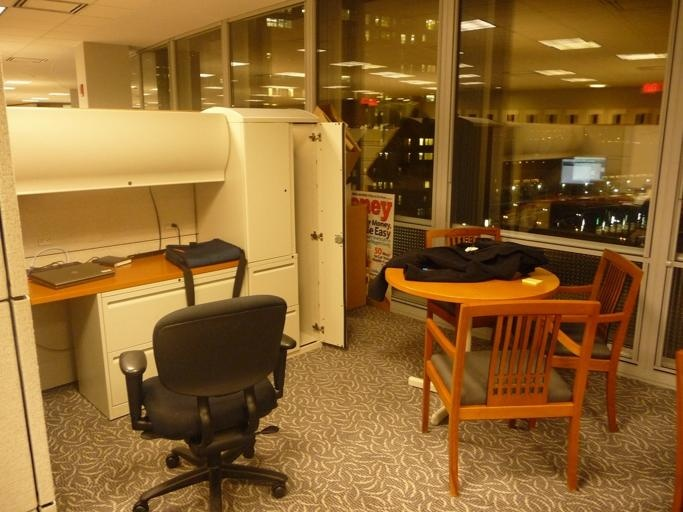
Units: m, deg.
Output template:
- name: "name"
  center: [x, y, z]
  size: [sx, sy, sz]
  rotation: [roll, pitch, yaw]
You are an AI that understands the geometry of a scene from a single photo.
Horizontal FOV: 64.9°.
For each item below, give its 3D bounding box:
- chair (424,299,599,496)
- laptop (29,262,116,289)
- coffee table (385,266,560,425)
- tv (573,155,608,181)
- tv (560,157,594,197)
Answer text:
- name: "chair"
  center: [1.041, 0.906, 3.269]
  size: [0.999, 1.310, 0.983]
  rotation: [-1, 21, 0]
- name: "laptop"
  center: [-1.914, 0.114, 3.853]
  size: [0.507, 0.064, 0.479]
  rotation: [-13, 20, -43]
- name: "coffee table"
  center: [0.910, 0.660, 4.104]
  size: [1.246, 0.811, 1.144]
  rotation: [-4, 16, -9]
- name: "tv"
  center: [1.990, -0.708, 4.318]
  size: [0.236, 0.193, 0.028]
  rotation: [12, 21, 35]
- name: "tv"
  center: [1.925, -0.661, 4.375]
  size: [0.341, 0.280, 0.184]
  rotation: [4, 9, 39]
